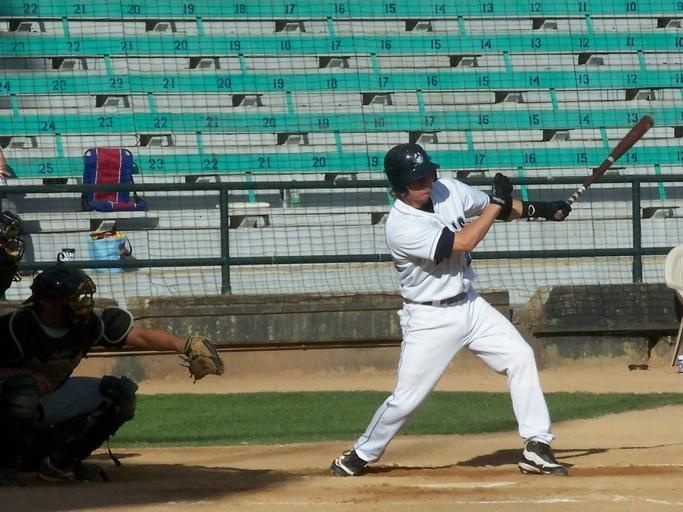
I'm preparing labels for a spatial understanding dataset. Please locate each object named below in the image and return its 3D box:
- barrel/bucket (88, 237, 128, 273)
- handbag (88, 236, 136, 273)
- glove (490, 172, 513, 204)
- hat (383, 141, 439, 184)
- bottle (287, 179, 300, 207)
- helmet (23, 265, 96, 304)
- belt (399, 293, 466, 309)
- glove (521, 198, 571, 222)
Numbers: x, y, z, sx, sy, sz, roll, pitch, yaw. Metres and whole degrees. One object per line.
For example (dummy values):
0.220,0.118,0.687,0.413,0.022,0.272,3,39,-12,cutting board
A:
-3.567,0.029,29.294,0.761,0.490,0.572,2,-5,-18,barrel/bucket
-3.558,0.051,29.140,0.697,0.497,0.724,0,-5,-3,handbag
1.968,-0.781,23.625,0.316,0.345,0.152,9,-8,-7,glove
0.824,-1.101,23.537,0.624,0.304,0.456,-7,26,45,hat
-0.744,-0.830,29.405,0.227,0.259,0.659,-2,3,-2,bottle
-3.417,0.368,23.198,0.657,0.421,0.451,-6,6,-6,helmet
1.156,0.562,23.505,0.784,0.160,0.153,-1,3,2,belt
2.561,-0.548,24.007,0.530,0.253,0.177,1,30,1,glove
